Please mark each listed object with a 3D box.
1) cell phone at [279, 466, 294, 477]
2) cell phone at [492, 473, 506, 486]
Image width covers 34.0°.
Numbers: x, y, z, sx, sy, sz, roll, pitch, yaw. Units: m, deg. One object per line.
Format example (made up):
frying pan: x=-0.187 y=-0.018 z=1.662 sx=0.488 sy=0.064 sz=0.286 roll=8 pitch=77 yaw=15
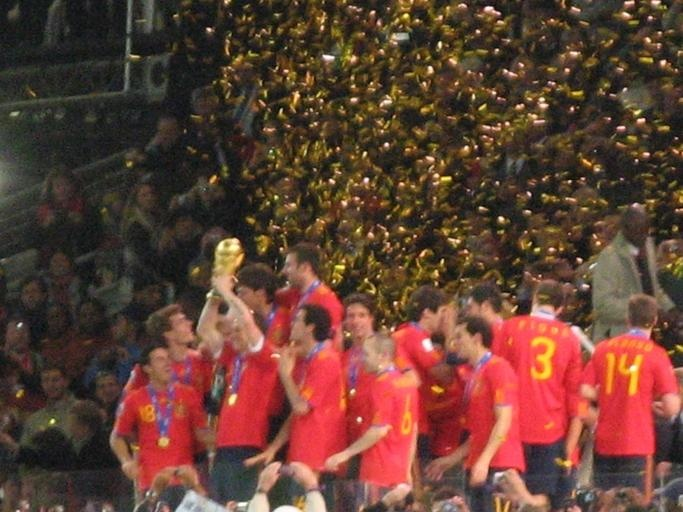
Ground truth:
cell phone: x=-0.428 y=1.681 z=8.727 sx=0.106 sy=0.102 sz=0.104 roll=1 pitch=-4 yaw=0
cell phone: x=1.253 y=1.800 z=8.995 sx=0.064 sy=0.100 sz=0.038 roll=22 pitch=-8 yaw=10
